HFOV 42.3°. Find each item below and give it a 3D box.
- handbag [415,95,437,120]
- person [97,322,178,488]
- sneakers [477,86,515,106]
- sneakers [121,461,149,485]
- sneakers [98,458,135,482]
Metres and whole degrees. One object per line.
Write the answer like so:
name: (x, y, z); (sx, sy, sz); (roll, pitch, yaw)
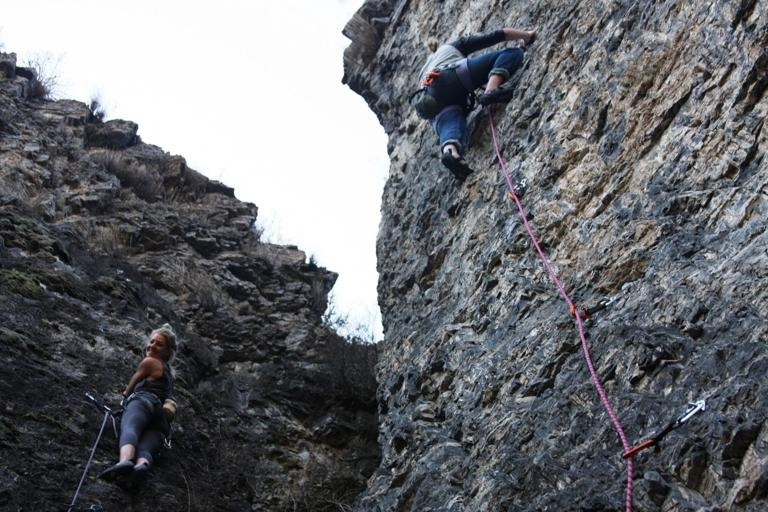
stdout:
handbag: (0.708, -2.423, 16.280); (0.336, 0.379, 0.287); (-27, -5, 11)
person: (-3.417, 2.143, 13.987); (0.758, 2.628, 0.825); (-10, -52, 7)
sneakers: (1.748, -2.440, 15.355); (0.403, 0.293, 0.179); (-8, -53, 2)
sneakers: (-3.310, 2.944, 13.331); (0.166, 0.175, 0.471); (27, -39, -9)
sneakers: (-3.537, 2.838, 13.214); (0.498, 0.211, 0.227); (-8, -67, -15)
